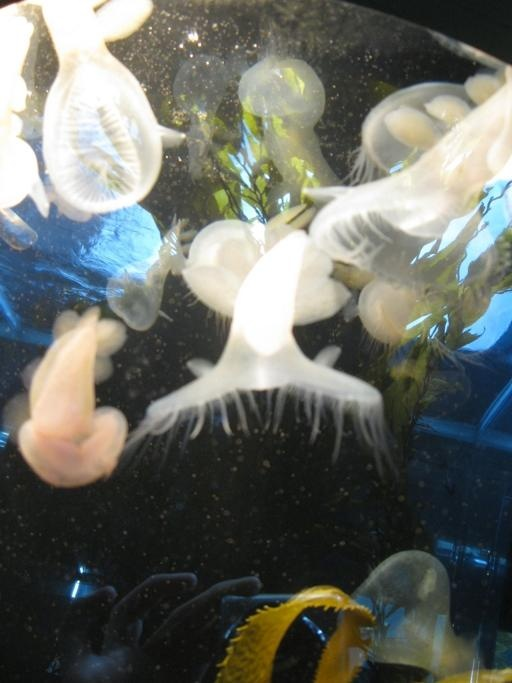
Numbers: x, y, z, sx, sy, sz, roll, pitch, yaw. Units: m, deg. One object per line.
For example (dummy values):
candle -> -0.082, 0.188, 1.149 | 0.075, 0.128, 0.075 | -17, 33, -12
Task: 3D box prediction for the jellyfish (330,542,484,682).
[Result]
jellyfish -> 0.222, 0.403, 1.212 | 0.168, 0.125, 0.159 | -17, 57, -9
